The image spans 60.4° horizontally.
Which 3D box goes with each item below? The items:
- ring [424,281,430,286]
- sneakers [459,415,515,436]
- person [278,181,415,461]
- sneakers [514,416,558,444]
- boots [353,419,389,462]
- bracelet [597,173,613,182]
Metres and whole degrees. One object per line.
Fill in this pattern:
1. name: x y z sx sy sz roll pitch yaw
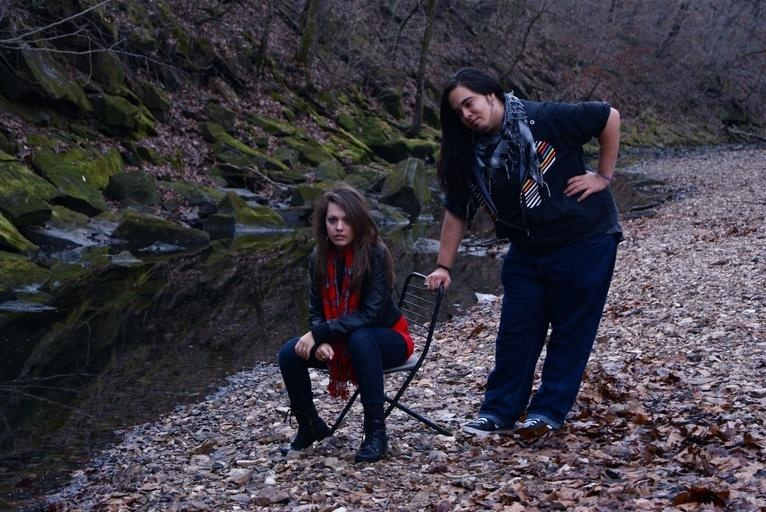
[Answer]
1. ring: 0.410 0.270 6.138 0.024 0.060 0.062 -8 25 -24
2. sneakers: 0.977 1.600 6.248 0.536 0.176 0.177 3 -9 0
3. person: -0.297 0.626 6.033 1.124 2.317 1.185 5 25 11
4. sneakers: 1.395 1.582 6.008 0.407 0.198 0.164 1 44 -38
5. boots: -0.115 1.661 5.988 0.243 0.361 0.577 -5 -4 17
6. bracelet: 1.995 -0.713 5.952 0.109 0.026 0.107 21 10 -1
